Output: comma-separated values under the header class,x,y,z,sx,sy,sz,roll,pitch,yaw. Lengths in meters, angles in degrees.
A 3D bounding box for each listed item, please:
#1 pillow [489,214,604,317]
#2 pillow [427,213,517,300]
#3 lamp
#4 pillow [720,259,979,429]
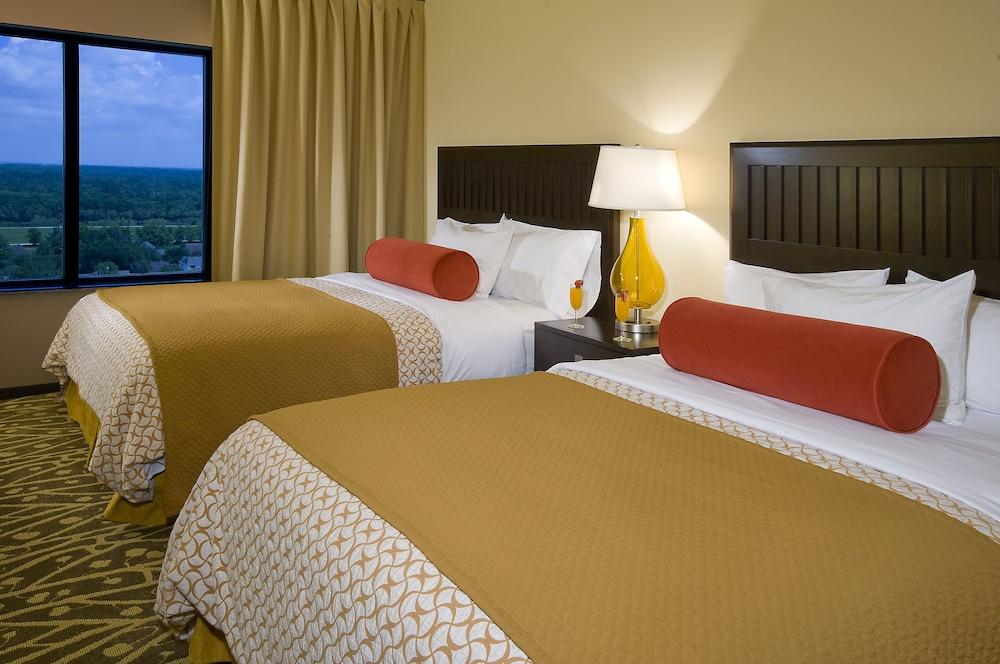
class,x,y,z,sx,sy,sz,roll,pitch,yaw
pillow,0.334,-0.419,4.103,0.551,0.654,0.177,8,0,34
pillow,-0.169,-0.605,4.361,0.555,0.595,0.170,7,-15,43
lamp,0.835,-0.529,3.745,0.466,1.066,0.468,3,10,25
pillow,1.353,0.064,2.398,0.150,0.362,0.577,15,-1,-30
